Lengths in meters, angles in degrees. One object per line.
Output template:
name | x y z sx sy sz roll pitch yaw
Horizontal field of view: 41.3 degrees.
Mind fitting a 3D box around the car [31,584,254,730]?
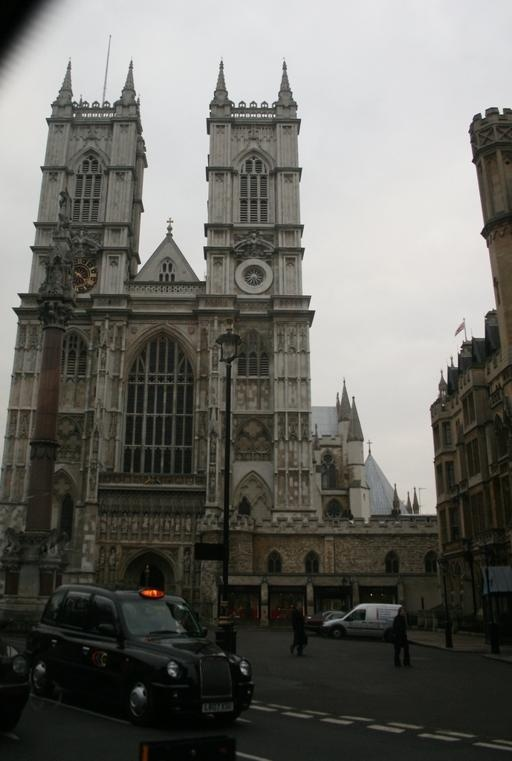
car | -1.594 3.813 9.618 1.679 1.482 3.236 25 -33 -37

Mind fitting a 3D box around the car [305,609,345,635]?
car | 3.213 11.931 33.769 2.482 0.850 1.057 0 -15 -16

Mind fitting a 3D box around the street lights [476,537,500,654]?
street lights | 9.272 9.037 26.940 0.517 3.369 0.515 -11 -15 40

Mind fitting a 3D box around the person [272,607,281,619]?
person | 1.167 13.826 40.474 0.679 0.739 0.395 3 -14 -11
